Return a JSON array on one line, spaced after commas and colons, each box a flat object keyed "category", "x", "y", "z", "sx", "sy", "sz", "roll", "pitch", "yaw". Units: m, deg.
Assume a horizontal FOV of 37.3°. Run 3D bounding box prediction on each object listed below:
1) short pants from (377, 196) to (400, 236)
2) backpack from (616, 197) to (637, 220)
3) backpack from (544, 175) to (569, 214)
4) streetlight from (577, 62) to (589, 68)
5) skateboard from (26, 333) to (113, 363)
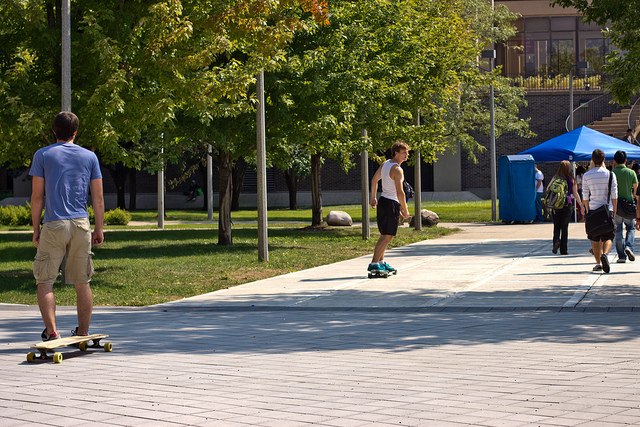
[{"category": "short pants", "x": 1.347, "y": 0.054, "z": 18.626, "sx": 0.439, "sy": 0.760, "sz": 0.303, "roll": -2, "pitch": 0, "yaw": 2}, {"category": "backpack", "x": 6.420, "y": -0.100, "z": 19.899, "sx": 0.467, "sy": 0.352, "sz": 0.221, "roll": 14, "pitch": 22, "yaw": 42}, {"category": "backpack", "x": 5.602, "y": -0.506, "z": 22.437, "sx": 0.482, "sy": 0.747, "sz": 0.548, "roll": -11, "pitch": 24, "yaw": -44}, {"category": "streetlight", "x": 13.474, "y": -7.611, "z": 48.660, "sx": 0.641, "sy": 0.324, "sz": 0.577, "roll": 0, "pitch": -3, "yaw": -5}, {"category": "skateboard", "x": -3.579, "y": 1.857, "z": 13.402, "sx": 0.415, "sy": 0.179, "sz": 1.134, "roll": 5, "pitch": 5, "yaw": 29}]
